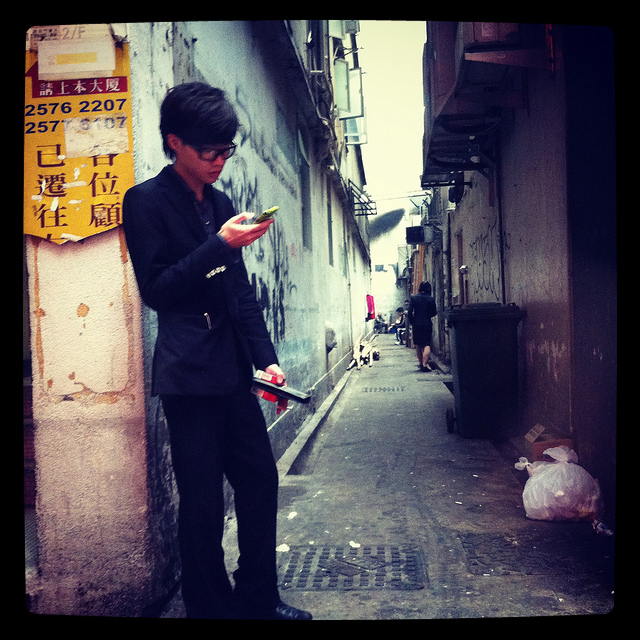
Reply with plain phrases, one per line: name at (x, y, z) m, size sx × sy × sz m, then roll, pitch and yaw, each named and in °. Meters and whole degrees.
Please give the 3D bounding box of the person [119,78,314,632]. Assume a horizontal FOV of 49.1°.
person at (-0.449, 0.215, 2.972) m, size 0.704 × 2.393 × 0.446 m, roll -2°, pitch 2°, yaw -22°

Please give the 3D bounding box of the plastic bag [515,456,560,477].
plastic bag at (1.437, 1.035, 4.736) m, size 0.201 × 0.121 × 0.160 m, roll -24°, pitch 5°, yaw 46°

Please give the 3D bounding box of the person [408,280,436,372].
person at (1.889, 0.066, 12.799) m, size 0.413 × 1.714 × 0.495 m, roll 2°, pitch 14°, yaw 14°
